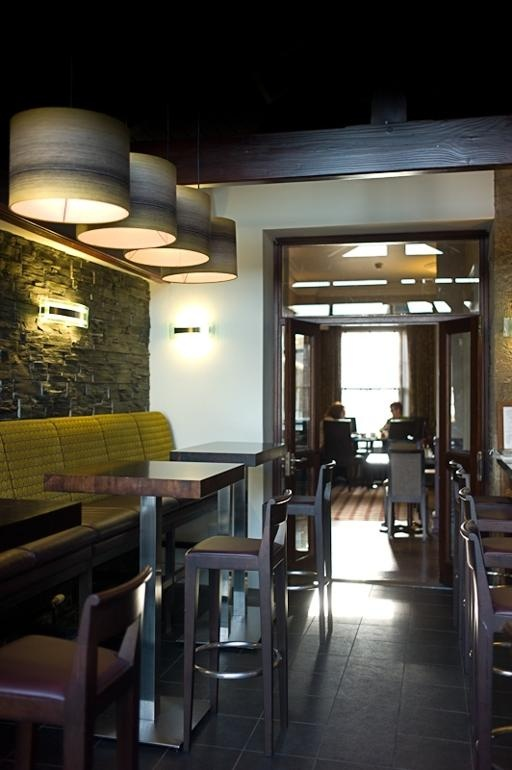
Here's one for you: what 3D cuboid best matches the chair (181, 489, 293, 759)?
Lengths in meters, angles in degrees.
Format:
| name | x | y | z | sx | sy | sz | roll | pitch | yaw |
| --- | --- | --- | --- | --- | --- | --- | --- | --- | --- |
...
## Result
| name | x | y | z | sx | sy | sz | roll | pitch | yaw |
| --- | --- | --- | --- | --- | --- | --- | --- | --- | --- |
| chair | -0.087 | 0.970 | 2.745 | 0.473 | 1.027 | 1.070 | 1 | -3 | 2 |

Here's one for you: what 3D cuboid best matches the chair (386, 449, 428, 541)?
| name | x | y | z | sx | sy | sz | roll | pitch | yaw |
| --- | --- | --- | --- | --- | --- | --- | --- | --- | --- |
| chair | 1.659 | 1.181 | 6.748 | 0.432 | 0.969 | 0.344 | 0 | -3 | 10 |

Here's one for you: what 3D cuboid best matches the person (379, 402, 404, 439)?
| name | x | y | z | sx | sy | sz | roll | pitch | yaw |
| --- | --- | --- | --- | --- | --- | --- | --- | --- | --- |
| person | 2.086 | 0.543 | 9.532 | 0.284 | 0.590 | 1.670 | 0 | -3 | 11 |

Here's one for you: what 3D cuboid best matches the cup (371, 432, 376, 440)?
| name | x | y | z | sx | sy | sz | roll | pitch | yaw |
| --- | --- | --- | --- | --- | --- | --- | --- | --- | --- |
| cup | 2.101 | 0.926 | 11.054 | 0.102 | 0.125 | 0.208 | -2 | -7 | 10 |

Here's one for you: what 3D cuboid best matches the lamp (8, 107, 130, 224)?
| name | x | y | z | sx | sy | sz | roll | pitch | yaw |
| --- | --- | --- | --- | --- | --- | --- | --- | --- | --- |
| lamp | -0.569 | -0.611 | 1.951 | 0.306 | 0.298 | 0.362 | 1 | 0 | 4 |

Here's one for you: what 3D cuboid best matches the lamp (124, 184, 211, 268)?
| name | x | y | z | sx | sy | sz | roll | pitch | yaw |
| --- | --- | --- | --- | --- | --- | --- | --- | --- | --- |
| lamp | -0.369 | -0.685 | 2.848 | 0.307 | 0.318 | 0.386 | 0 | 1 | 6 |

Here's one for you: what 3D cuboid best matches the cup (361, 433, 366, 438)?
| name | x | y | z | sx | sy | sz | roll | pitch | yaw |
| --- | --- | --- | --- | --- | --- | --- | --- | --- | --- |
| cup | 1.956 | 0.930 | 11.245 | 0.081 | 0.110 | 0.089 | 2 | 3 | 18 |

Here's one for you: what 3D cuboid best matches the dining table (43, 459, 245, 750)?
| name | x | y | z | sx | sy | sz | roll | pitch | yaw |
| --- | --- | --- | --- | --- | --- | --- | --- | --- | --- |
| dining table | -0.393 | 0.861 | 3.048 | 0.855 | 1.556 | 0.905 | 0 | 1 | 19 |

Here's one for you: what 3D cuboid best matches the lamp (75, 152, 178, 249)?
| name | x | y | z | sx | sy | sz | roll | pitch | yaw |
| --- | --- | --- | --- | --- | --- | --- | --- | --- | --- |
| lamp | -0.470 | -0.635 | 2.424 | 0.323 | 0.323 | 0.394 | -1 | -2 | 6 |
